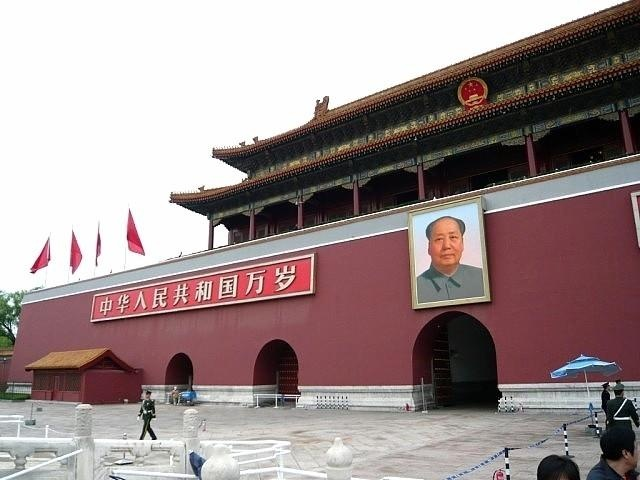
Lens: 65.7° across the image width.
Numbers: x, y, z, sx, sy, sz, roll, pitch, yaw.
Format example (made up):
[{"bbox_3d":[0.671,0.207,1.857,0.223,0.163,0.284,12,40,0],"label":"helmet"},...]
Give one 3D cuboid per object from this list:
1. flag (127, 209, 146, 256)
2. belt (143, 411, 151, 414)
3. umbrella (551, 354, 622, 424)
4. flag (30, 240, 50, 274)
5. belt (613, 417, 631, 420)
[{"bbox_3d":[-8.988,-0.343,24.047,0.763,2.323,1.793,4,-17,-21],"label":"flag"},{"bbox_3d":[-3.841,3.795,10.990,0.172,0.083,0.214,5,-17,-22],"label":"belt"},{"bbox_3d":[6.455,3.578,11.900,1.443,1.208,1.508,-7,-26,-4],"label":"umbrella"},{"bbox_3d":[-15.251,0.789,27.084,0.765,2.094,1.707,8,-18,-30],"label":"flag"},{"bbox_3d":[4.732,2.784,7.747,0.212,0.049,0.155,-13,-19,33],"label":"belt"}]
